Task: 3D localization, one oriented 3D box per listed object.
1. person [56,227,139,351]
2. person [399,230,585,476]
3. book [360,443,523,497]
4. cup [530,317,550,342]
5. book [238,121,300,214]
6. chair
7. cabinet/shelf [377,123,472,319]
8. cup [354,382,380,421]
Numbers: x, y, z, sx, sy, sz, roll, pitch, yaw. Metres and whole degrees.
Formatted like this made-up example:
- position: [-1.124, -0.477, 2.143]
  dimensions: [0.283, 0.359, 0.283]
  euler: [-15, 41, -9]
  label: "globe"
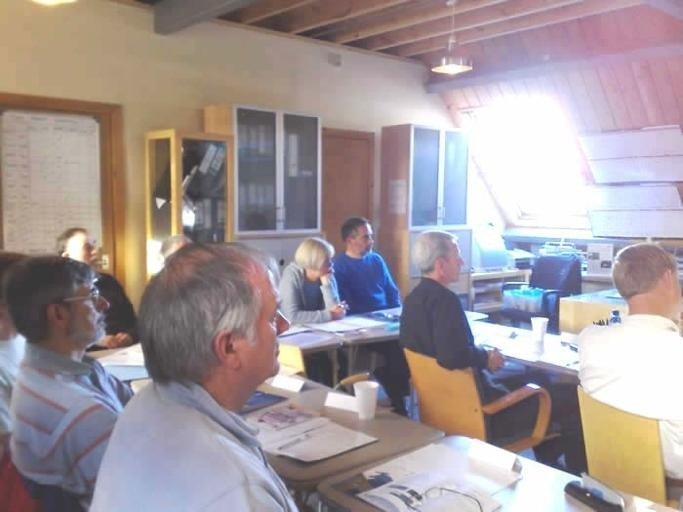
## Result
- position: [-1.768, 0.192, 4.031]
  dimensions: [0.507, 0.828, 0.547]
  euler: [3, 20, 7]
  label: "person"
- position: [0.960, 0.602, 3.303]
  dimensions: [1.155, 1.469, 0.836]
  euler: [-2, 5, -14]
  label: "person"
- position: [0.367, 0.695, 1.847]
  dimensions: [0.258, 0.061, 0.167]
  euler: [-8, 8, -38]
  label: "book"
- position: [1.205, 0.441, 3.378]
  dimensions: [0.131, 0.139, 0.136]
  euler: [0, -1, 0]
  label: "cup"
- position: [-0.721, -0.856, 5.347]
  dimensions: [0.910, 1.091, 0.073]
  euler: [-1, 1, -44]
  label: "book"
- position: [2.061, 0.537, 6.083]
  dimensions: [0.884, 1.049, 0.904]
  euler: [6, 6, 34]
  label: "chair"
- position: [1.086, -0.417, 6.946]
  dimensions: [0.981, 2.266, 0.495]
  euler: [-7, 15, -32]
  label: "cabinet/shelf"
- position: [0.102, 0.599, 2.245]
  dimensions: [0.128, 0.141, 0.131]
  euler: [-10, -9, -1]
  label: "cup"
